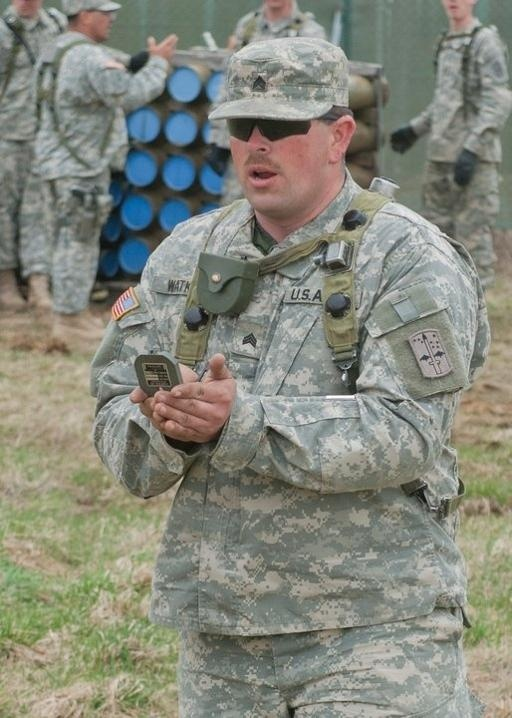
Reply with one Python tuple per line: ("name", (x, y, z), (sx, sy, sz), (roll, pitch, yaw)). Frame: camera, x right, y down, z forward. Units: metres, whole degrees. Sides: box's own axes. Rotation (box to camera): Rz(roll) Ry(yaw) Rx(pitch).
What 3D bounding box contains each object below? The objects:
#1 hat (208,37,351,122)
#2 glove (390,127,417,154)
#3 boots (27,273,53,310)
("hat", (0.052, -0.728, 3.070), (0.332, 0.161, 0.394), (3, 24, 16))
("glove", (0.686, -1.013, 5.606), (0.104, 0.105, 0.131), (-25, -9, 23))
("boots", (-0.942, -0.287, 5.217), (0.084, 0.153, 0.142), (0, 51, -10))
